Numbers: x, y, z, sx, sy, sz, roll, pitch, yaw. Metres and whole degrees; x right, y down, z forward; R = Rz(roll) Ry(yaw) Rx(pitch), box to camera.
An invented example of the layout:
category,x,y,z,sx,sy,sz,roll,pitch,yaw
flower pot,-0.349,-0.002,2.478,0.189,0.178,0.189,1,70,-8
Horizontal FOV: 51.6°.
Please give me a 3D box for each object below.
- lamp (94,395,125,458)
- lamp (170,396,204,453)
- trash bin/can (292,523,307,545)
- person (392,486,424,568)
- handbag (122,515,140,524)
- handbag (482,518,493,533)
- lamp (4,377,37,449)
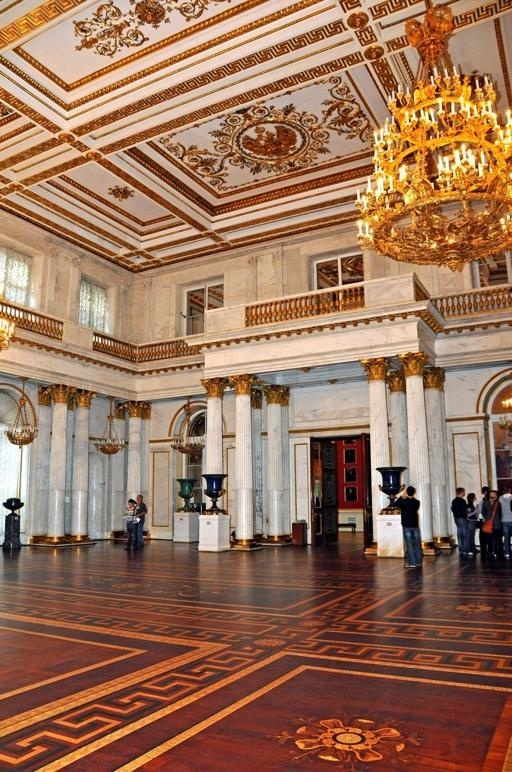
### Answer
category,x,y,z,sx,sy,sz,roll,pitch,yaw
lamp,-4.774,1.284,17.317,0.853,2.130,2.962,4,-15,-15
lamp,-2.299,1.404,17.941,1.076,1.862,1.695,1,-14,-6
trash bin/can,1.228,4.179,15.024,0.400,0.645,0.714,-2,-14,6
person,2.872,2.578,9.876,0.415,1.463,1.498,-4,-15,16
handbag,-3.446,3.715,14.725,0.313,0.226,0.461,1,-14,-5
handbag,4.703,2.818,10.693,0.110,0.333,0.267,26,-22,-17
lamp,-6.681,0.805,14.943,0.961,1.961,2.766,6,-15,-22
